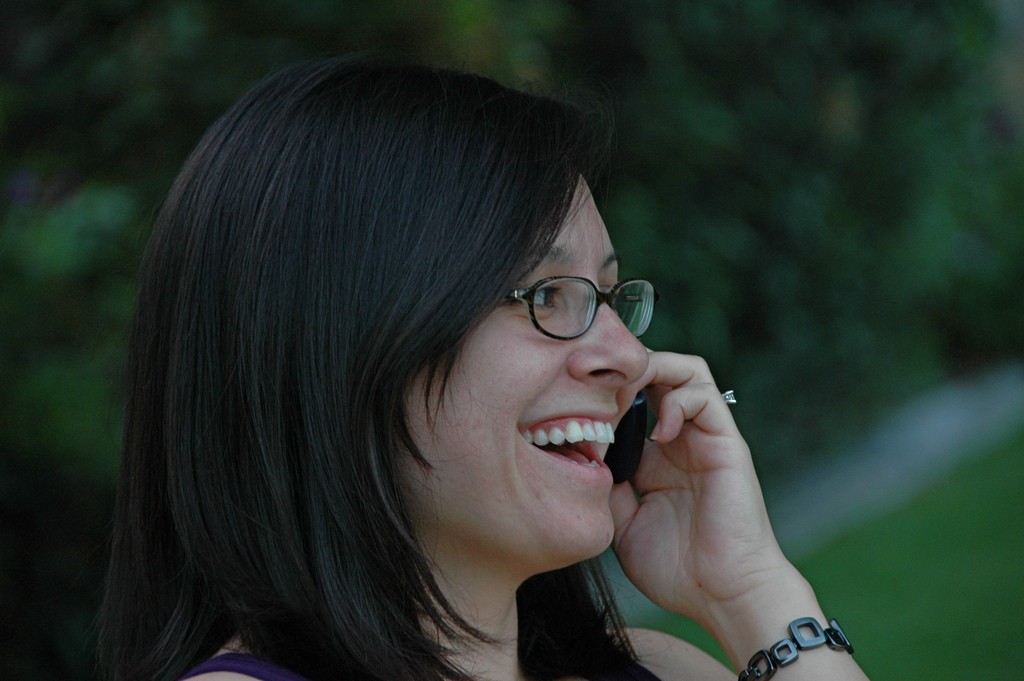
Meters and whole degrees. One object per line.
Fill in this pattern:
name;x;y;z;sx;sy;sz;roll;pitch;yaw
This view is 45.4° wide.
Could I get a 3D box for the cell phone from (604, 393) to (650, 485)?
cell phone;0.370;0.331;3.966;0.055;0.264;0.176;17;33;15
